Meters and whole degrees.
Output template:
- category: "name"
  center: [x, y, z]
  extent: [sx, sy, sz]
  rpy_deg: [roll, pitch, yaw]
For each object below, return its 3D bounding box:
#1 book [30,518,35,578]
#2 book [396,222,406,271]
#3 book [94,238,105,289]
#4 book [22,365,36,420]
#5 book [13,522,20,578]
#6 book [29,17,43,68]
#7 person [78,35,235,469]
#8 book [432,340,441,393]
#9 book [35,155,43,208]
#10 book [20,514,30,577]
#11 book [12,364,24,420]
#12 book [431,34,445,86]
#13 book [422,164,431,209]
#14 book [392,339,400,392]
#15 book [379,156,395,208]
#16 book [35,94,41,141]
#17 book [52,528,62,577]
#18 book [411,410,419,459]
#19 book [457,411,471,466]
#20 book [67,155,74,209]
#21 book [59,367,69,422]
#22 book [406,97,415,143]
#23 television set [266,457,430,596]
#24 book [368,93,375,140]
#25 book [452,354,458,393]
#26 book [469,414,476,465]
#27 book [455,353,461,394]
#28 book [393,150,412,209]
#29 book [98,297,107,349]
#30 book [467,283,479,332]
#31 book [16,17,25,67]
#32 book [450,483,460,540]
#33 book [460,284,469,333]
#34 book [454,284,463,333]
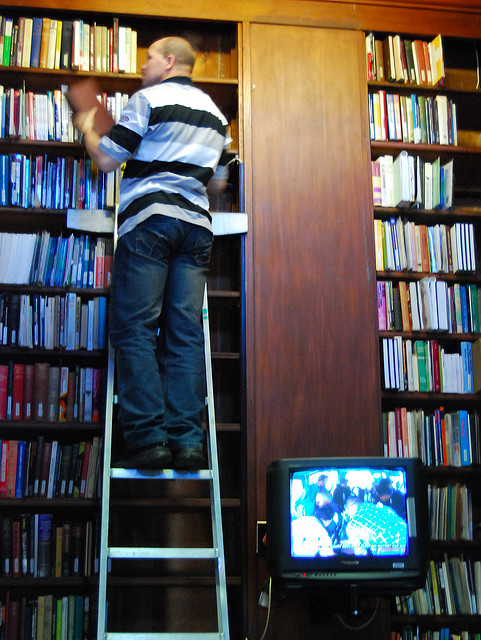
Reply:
- category: "book"
  center: [-0.744, 0.816, 2.533]
  extent: [0.016, 0.195, 0.052]
  rpy_deg: [1, -7, -19]
- category: "book"
  center: [0.664, -0.300, 2.946]
  extent: [0.017, 0.227, 0.146]
  rpy_deg: [-6, -9, 6]
- category: "book"
  center: [-0.550, -0.226, 2.766]
  extent: [0.024, 0.144, 0.120]
  rpy_deg: [3, 3, -5]
- category: "book"
  center: [-0.786, 0.267, 2.634]
  extent: [0.025, 0.157, 0.130]
  rpy_deg: [3, -4, -4]
- category: "book"
  center: [-0.797, 0.819, 2.521]
  extent: [0.022, 0.180, 0.039]
  rpy_deg: [2, -7, -24]
- category: "book"
  center: [-0.815, -1.118, 2.833]
  extent: [0.027, 0.164, 0.136]
  rpy_deg: [4, 4, -12]
- category: "person"
  center: [-0.257, -0.277, 2.261]
  extent: [0.489, 1.468, 0.433]
  rpy_deg: [1, -7, -20]
- category: "book"
  center: [0.792, 0.189, 2.873]
  extent: [0.049, 0.214, 0.024]
  rpy_deg: [3, -7, -33]
- category: "book"
  center: [-0.787, -0.546, 2.784]
  extent: [0.020, 0.212, 0.039]
  rpy_deg: [-5, -7, 32]
- category: "book"
  center: [-0.769, 0.811, 2.529]
  extent: [0.033, 0.207, 0.057]
  rpy_deg: [1, -7, -21]
- category: "book"
  center: [-0.825, 0.267, 2.628]
  extent: [0.023, 0.147, 0.120]
  rpy_deg: [1, 1, -8]
- category: "book"
  center: [0.854, -1.145, 3.086]
  extent: [0.049, 0.248, 0.071]
  rpy_deg: [-3, -7, 18]
- category: "book"
  center: [0.789, -0.575, 2.997]
  extent: [0.024, 0.144, 0.118]
  rpy_deg: [2, 3, 5]
- category: "book"
  center: [0.620, 0.174, 2.823]
  extent: [0.025, 0.151, 0.129]
  rpy_deg: [1, -5, 6]
- category: "book"
  center: [0.627, -0.593, 3.018]
  extent: [0.030, 0.185, 0.147]
  rpy_deg: [0, 1, 6]
- category: "book"
  center: [-0.797, -0.804, 2.791]
  extent: [0.023, 0.182, 0.013]
  rpy_deg: [1, -7, -20]
- category: "book"
  center: [-0.654, 0.834, 2.533]
  extent: [0.033, 0.162, 0.030]
  rpy_deg: [1, -7, -18]
- category: "book"
  center: [0.692, 0.452, 2.822]
  extent: [0.023, 0.181, 0.049]
  rpy_deg: [-3, -7, 15]
- category: "book"
  center: [0.896, 0.477, 2.842]
  extent: [0.042, 0.212, 0.048]
  rpy_deg: [-3, -6, 12]
- category: "book"
  center: [-0.675, -0.561, 2.824]
  extent: [0.023, 0.242, 0.078]
  rpy_deg: [0, -7, -10]
- category: "book"
  center: [-0.660, 0.278, 2.641]
  extent: [0.028, 0.197, 0.034]
  rpy_deg: [0, -6, -11]
- category: "book"
  center: [0.731, -0.868, 3.055]
  extent: [0.024, 0.147, 0.120]
  rpy_deg: [1, 2, 5]
- category: "television set"
  center: [0.342, 0.820, 2.334]
  extent: [0.526, 0.594, 0.364]
  rpy_deg: [1, -18, -1]
- category: "book"
  center: [0.556, -0.876, 3.021]
  extent: [0.021, 0.209, 0.037]
  rpy_deg: [-3, -6, 12]
- category: "book"
  center: [0.870, 0.218, 2.885]
  extent: [0.027, 0.157, 0.018]
  rpy_deg: [0, -6, -13]
- category: "book"
  center: [0.934, 0.481, 2.848]
  extent: [0.023, 0.138, 0.111]
  rpy_deg: [-4, 4, 13]
- category: "book"
  center: [0.887, 0.219, 2.891]
  extent: [0.020, 0.117, 0.096]
  rpy_deg: [1, -3, 9]
- category: "book"
  center: [0.662, -0.606, 2.979]
  extent: [0.045, 0.208, 0.129]
  rpy_deg: [0, -3, 4]
- category: "book"
  center: [-0.528, 0.009, 2.698]
  extent: [0.024, 0.144, 0.120]
  rpy_deg: [2, 3, -7]
- category: "book"
  center: [0.977, -0.049, 2.961]
  extent: [0.026, 0.154, 0.124]
  rpy_deg: [-1, 1, 7]
- category: "book"
  center: [-0.877, -1.115, 2.823]
  extent: [0.028, 0.221, 0.027]
  rpy_deg: [0, -6, -11]
- category: "book"
  center: [0.849, 0.764, 2.806]
  extent: [0.025, 0.155, 0.127]
  rpy_deg: [3, -3, 4]
- category: "book"
  center: [0.930, -0.044, 2.953]
  extent: [0.027, 0.195, 0.016]
  rpy_deg: [-2, -6, 11]
- category: "book"
  center: [0.907, -0.047, 2.953]
  extent: [0.024, 0.146, 0.118]
  rpy_deg: [-2, 5, 7]
